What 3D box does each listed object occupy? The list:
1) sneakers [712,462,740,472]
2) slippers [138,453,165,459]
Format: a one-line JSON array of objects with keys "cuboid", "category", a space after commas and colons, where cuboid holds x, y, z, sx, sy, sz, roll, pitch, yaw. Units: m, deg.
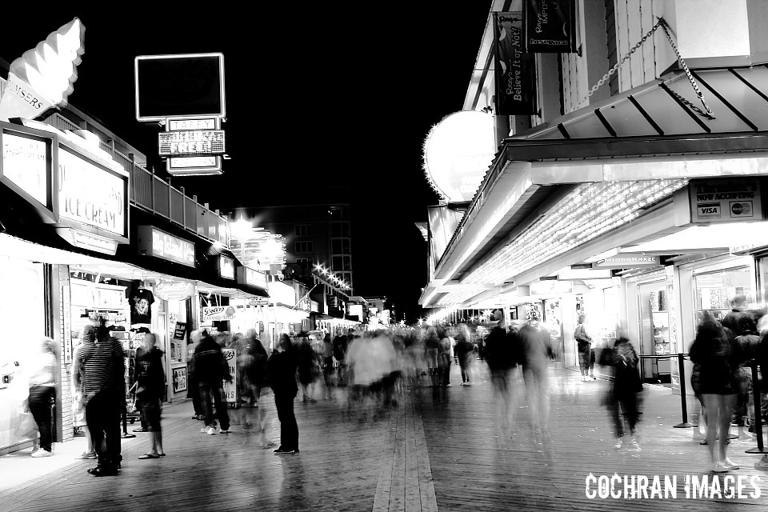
[{"cuboid": [5.656, 3.520, 12.222, 0.367, 0.167, 0.123, -4, 0, -19], "category": "sneakers"}, {"cuboid": [-4.703, 4.068, 14.895, 0.416, 0.108, 0.170, 5, -11, -10], "category": "slippers"}]
